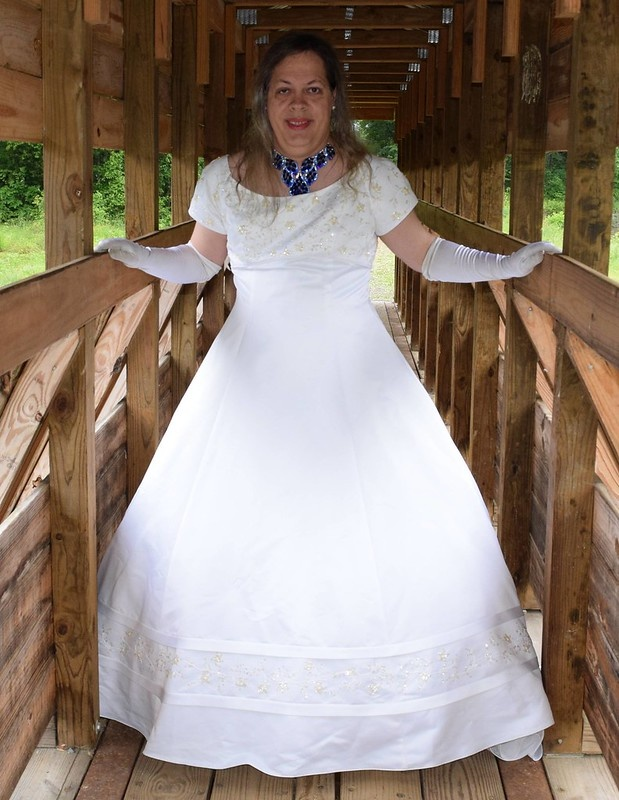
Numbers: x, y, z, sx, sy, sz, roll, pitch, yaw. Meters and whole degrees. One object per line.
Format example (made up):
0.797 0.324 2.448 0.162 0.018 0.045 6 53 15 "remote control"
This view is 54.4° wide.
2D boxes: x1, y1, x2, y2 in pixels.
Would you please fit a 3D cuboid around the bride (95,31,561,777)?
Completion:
0.072 -0.024 1.567 1.025 0.837 1.645 -1 -81 34 "bride"

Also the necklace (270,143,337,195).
-0.018 -0.588 1.542 0.110 0.018 0.113 -1 -94 -4 "necklace"
